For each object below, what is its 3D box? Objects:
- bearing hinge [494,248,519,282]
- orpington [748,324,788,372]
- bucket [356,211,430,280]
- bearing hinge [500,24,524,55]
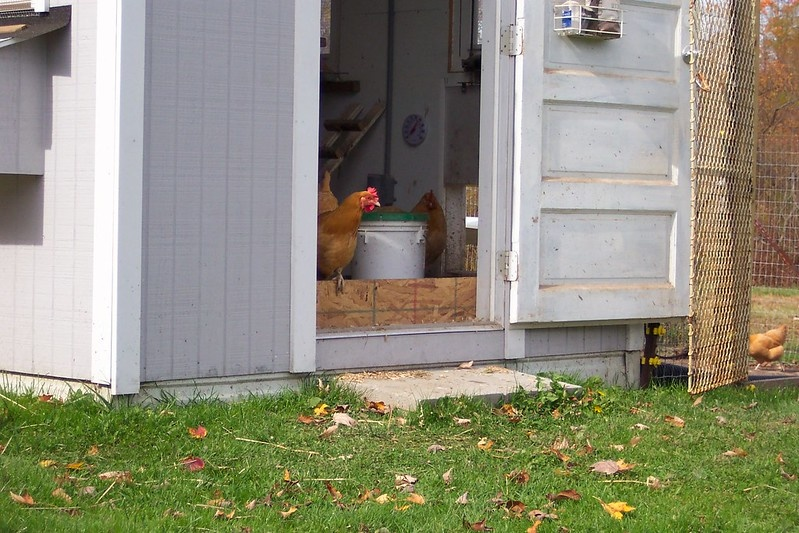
[{"bbox_3d":[0.751,-0.027,7.361,0.218,0.296,0.030,4,7,38],"label":"bearing hinge"},{"bbox_3d":[3.154,0.681,9.011,0.323,0.364,0.328,-1,-1,9],"label":"orpington"},{"bbox_3d":[-0.075,-0.151,8.590,0.551,0.485,0.560,1,-2,0],"label":"bucket"},{"bbox_3d":[0.787,-1.582,7.313,0.221,0.302,0.079,1,-1,6],"label":"bearing hinge"}]
